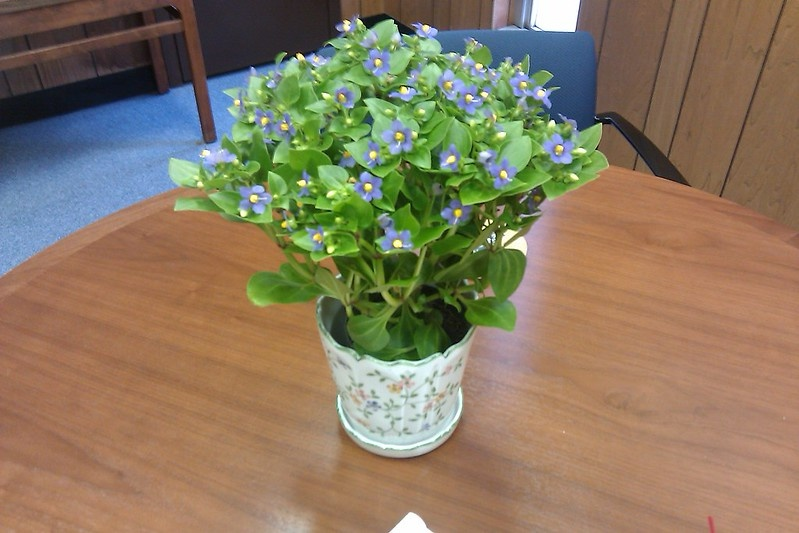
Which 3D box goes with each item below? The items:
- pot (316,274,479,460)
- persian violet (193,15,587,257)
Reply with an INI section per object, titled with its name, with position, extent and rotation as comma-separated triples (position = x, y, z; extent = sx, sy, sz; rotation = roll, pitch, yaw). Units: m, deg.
[pot]
position = -0.032, 0.178, 1.011
extent = 0.267, 0.233, 0.270
rotation = 0, 42, 0
[persian violet]
position = -0.016, -0.098, 0.780
extent = 0.420, 0.294, 0.385
rotation = -1, 35, -7
